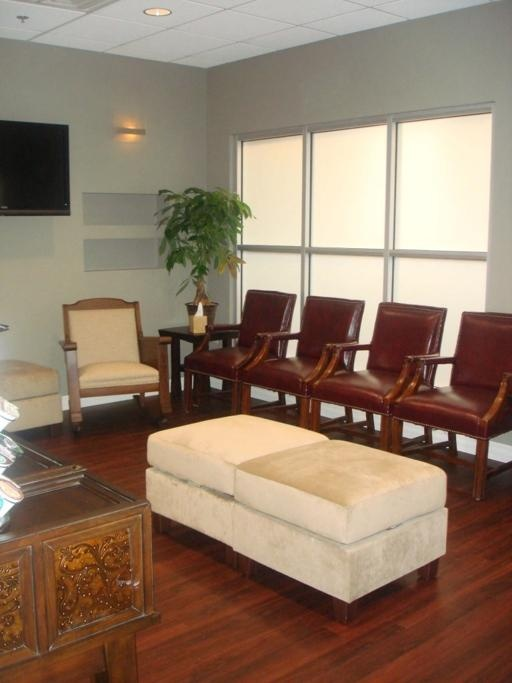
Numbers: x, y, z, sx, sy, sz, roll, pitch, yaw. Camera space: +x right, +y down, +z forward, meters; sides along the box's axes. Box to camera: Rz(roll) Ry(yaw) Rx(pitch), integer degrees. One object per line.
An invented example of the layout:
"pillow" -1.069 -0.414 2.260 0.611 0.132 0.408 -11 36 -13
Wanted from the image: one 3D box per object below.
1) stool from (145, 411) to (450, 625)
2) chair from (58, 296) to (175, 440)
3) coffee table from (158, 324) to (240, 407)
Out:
"stool" 0.150 0.725 2.406 0.616 0.542 1.137 -4 7 -43
"chair" -1.322 0.119 4.970 1.223 1.526 1.088 -3 5 -26
"coffee table" -0.500 0.149 5.440 0.832 1.055 0.804 -3 5 -39
